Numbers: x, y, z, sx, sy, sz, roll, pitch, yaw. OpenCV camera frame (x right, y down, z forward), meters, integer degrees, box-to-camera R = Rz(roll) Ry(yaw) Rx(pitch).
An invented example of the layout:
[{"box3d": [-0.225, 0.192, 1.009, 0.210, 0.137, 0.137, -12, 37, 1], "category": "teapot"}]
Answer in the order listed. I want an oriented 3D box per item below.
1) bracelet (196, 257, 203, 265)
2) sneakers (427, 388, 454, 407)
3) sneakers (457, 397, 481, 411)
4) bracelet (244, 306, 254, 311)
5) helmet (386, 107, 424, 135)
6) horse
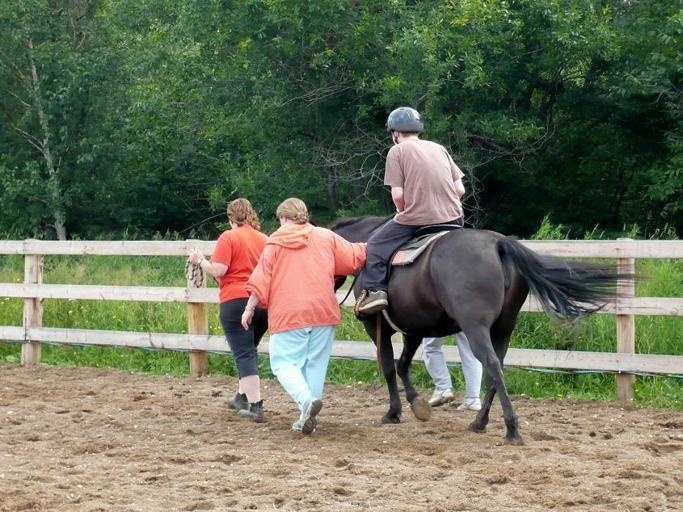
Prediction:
[{"box3d": [-2.370, 0.108, 19.931, 0.057, 0.091, 0.090, 17, 32, 27], "category": "bracelet"}, {"box3d": [1.741, 2.450, 20.479, 0.214, 0.275, 0.586, -8, -8, -40], "category": "sneakers"}, {"box3d": [2.216, 2.566, 20.441, 0.484, 0.228, 0.169, -2, 0, 22], "category": "sneakers"}, {"box3d": [-1.510, 0.867, 19.579, 0.090, 0.103, 0.110, -3, 2, -42], "category": "bracelet"}, {"box3d": [1.050, -2.247, 19.871, 0.503, 0.437, 0.404, -20, -9, 39], "category": "helmet"}, {"box3d": [1.738, 1.202, 19.853, 5.732, 3.749, 1.390, -2, -1, 39], "category": "horse"}]
